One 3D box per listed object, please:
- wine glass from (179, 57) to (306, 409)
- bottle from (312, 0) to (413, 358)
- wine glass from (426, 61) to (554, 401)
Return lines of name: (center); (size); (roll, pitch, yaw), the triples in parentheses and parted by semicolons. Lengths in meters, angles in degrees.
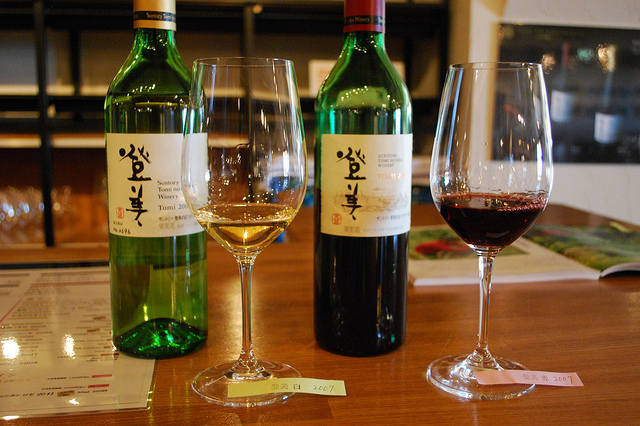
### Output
wine glass: (-0.109, 0.021, 0.828); (0.149, 0.448, 0.171); (-4, 9, -29)
bottle: (0.060, -0.047, 0.878); (0.138, 0.503, 0.070); (1, 8, 2)
wine glass: (0.223, 0.020, 0.830); (0.161, 0.442, 0.125); (3, 9, 20)
